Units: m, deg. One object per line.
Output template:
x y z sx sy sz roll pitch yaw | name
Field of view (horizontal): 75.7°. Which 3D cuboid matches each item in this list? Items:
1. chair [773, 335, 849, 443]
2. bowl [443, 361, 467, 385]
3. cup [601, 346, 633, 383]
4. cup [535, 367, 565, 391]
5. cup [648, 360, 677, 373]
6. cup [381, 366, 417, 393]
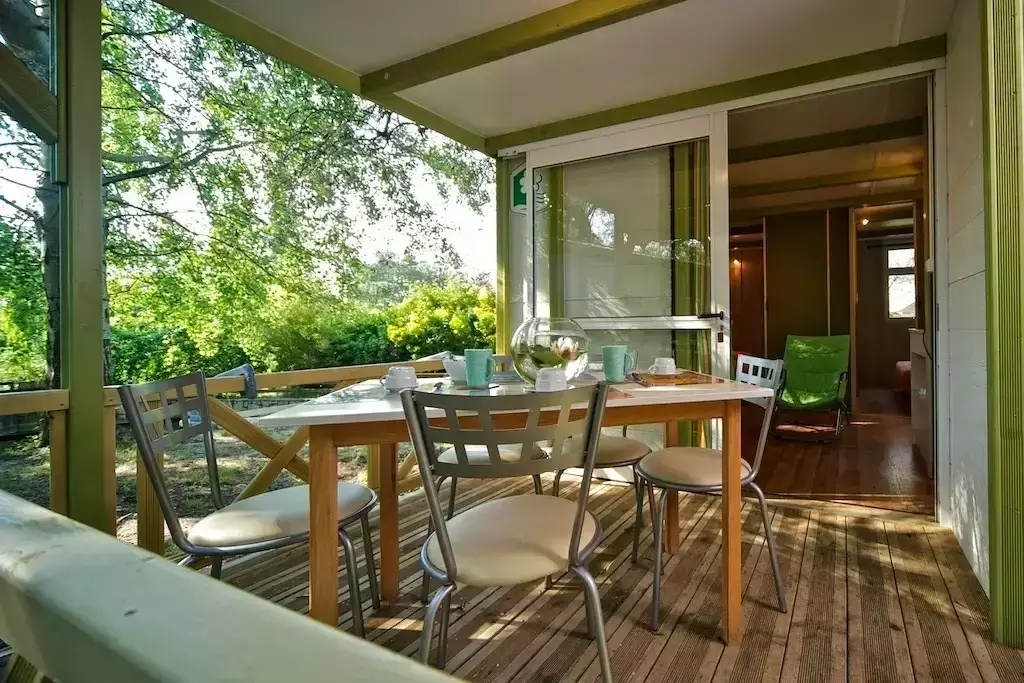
2.847 0.396 6.248 0.593 0.831 0.873 2 8 32 | chair
-0.296 0.165 3.397 0.116 0.079 0.119 -1 -1 0 | bowl
0.507 0.120 3.377 0.195 0.188 0.128 1 0 -12 | cup
0.168 0.173 3.035 0.105 0.102 0.106 0 2 0 | cup
0.799 0.135 3.467 0.107 0.071 0.081 -4 5 11 | cup
-0.551 0.190 3.243 0.191 0.123 0.139 -2 8 -16 | cup
